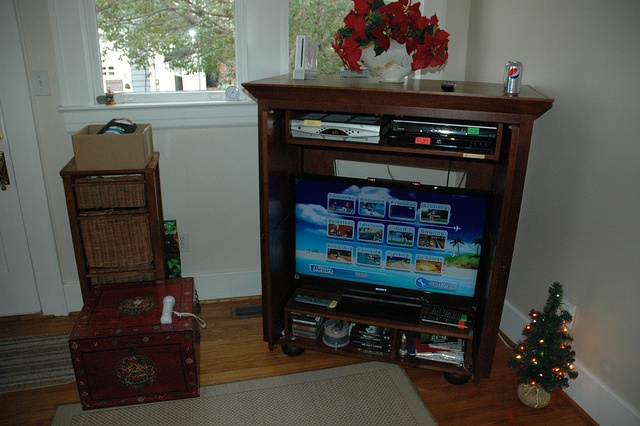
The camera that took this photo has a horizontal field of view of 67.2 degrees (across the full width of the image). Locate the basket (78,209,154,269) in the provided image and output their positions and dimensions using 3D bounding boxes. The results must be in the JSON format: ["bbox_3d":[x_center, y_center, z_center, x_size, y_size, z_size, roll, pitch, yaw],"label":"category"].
[{"bbox_3d":[-1.314,0.169,3.264,0.553,0.401,0.331,1,21,-2],"label":"basket"}]

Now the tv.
[{"bbox_3d":[0.445,0.212,3.165,1.028,0.600,0.079,5,22,9],"label":"tv"}]

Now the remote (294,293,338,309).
[{"bbox_3d":[-0.027,0.598,3.282,0.255,0.023,0.104,8,19,14],"label":"remote"}]

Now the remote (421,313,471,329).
[{"bbox_3d":[0.818,0.695,3.119,0.215,0.038,0.117,5,16,13],"label":"remote"}]

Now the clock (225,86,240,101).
[{"bbox_3d":[-0.647,-0.883,3.522,0.114,0.106,0.039,0,15,-10],"label":"clock"}]

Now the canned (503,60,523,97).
[{"bbox_3d":[1.101,-0.763,2.721,0.102,0.182,0.126,1,18,6],"label":"canned"}]

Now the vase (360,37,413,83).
[{"bbox_3d":[0.403,-0.923,2.888,0.236,0.163,0.235,17,32,30],"label":"vase"}]

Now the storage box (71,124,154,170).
[{"bbox_3d":[-1.353,-0.388,3.121,0.395,0.186,0.367,-2,24,-10],"label":"storage box"}]

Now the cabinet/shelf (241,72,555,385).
[{"bbox_3d":[0.542,0.137,3.103,1.906,1.911,0.774,7,31,11],"label":"cabinet/shelf"}]

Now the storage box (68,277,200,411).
[{"bbox_3d":[-1.102,0.885,3.288,1.067,0.456,1.049,-13,12,-29],"label":"storage box"}]

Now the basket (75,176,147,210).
[{"bbox_3d":[-1.358,-0.131,3.097,0.353,0.160,0.252,-1,15,-6],"label":"basket"}]

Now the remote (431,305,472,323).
[{"bbox_3d":[0.864,0.661,3.165,0.201,0.025,0.105,6,19,16],"label":"remote"}]
